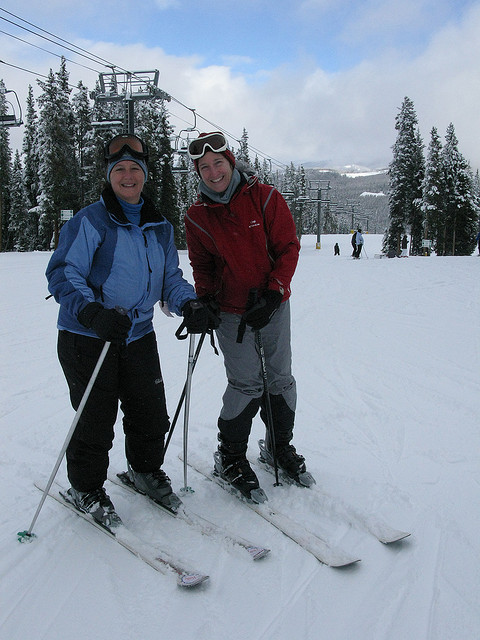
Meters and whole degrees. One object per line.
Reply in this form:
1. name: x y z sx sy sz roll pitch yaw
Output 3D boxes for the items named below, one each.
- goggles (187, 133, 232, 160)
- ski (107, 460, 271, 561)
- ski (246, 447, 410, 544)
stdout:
1. goggles: -0.164 -0.963 2.993 0.243 0.139 0.133 0 9 -5
2. ski: -0.305 1.051 2.996 1.037 0.061 0.127 26 8 4
3. ski: 0.491 1.015 3.101 0.157 0.085 1.560 -7 10 -31
